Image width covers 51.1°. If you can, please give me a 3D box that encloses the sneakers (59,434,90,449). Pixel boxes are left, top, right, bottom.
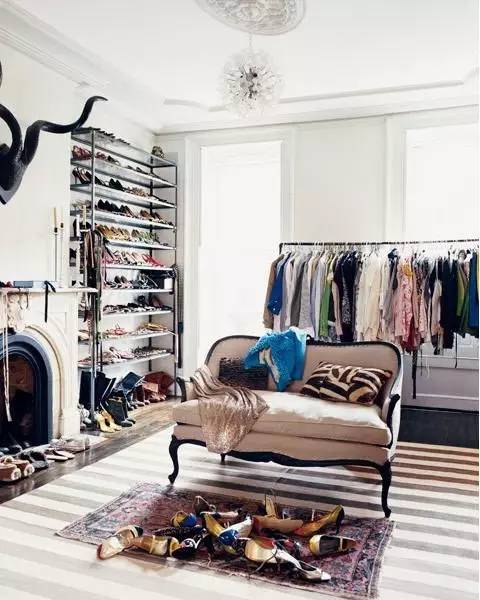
[{"bbox_3d":[-1.139,0.999,3.505,0.114,0.035,0.112,3,2,18],"label":"sneakers"}]

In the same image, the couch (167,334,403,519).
[{"bbox_3d":[0.347,0.745,2.960,1.550,1.011,0.840,0,-2,21],"label":"couch"}]

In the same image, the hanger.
[{"bbox_3d":[1.299,-0.524,4.932,1.796,0.145,0.620,0,-1,27],"label":"hanger"}]

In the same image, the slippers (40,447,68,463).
[{"bbox_3d":[-1.224,1.027,3.312,0.217,0.076,0.065,1,1,36],"label":"slippers"}]

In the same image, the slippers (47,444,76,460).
[{"bbox_3d":[-1.209,1.018,3.334,0.149,0.037,0.074,10,5,29],"label":"slippers"}]
